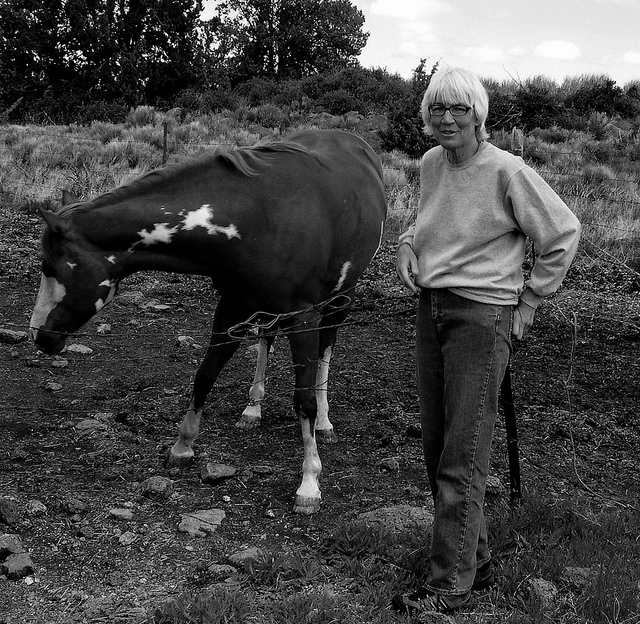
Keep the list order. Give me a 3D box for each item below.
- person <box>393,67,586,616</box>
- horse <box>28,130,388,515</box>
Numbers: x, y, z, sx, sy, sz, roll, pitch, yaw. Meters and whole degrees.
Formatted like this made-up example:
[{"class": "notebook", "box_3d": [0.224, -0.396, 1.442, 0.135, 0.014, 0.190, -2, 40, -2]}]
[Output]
[{"class": "person", "box_3d": [0.580, 0.110, 2.880, 0.558, 2.116, 0.599, -3, 14, -33]}, {"class": "horse", "box_3d": [-0.295, 0.015, 4.013, 0.910, 1.909, 3.147, 12, 21, 22]}]
